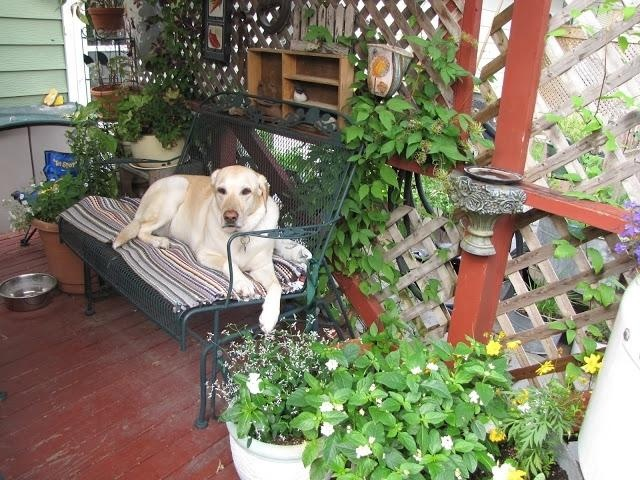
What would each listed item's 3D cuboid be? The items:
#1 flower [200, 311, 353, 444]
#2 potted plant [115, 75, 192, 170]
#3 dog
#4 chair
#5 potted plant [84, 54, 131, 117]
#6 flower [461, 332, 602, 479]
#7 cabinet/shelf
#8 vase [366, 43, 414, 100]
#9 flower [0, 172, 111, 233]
[{"bbox_3d":[-0.177,0.745,2.089,0.660,1.011,0.349,-5,67,-5],"label":"flower"},{"bbox_3d":[-1.344,-0.944,3.916,0.714,0.736,0.764,-3,34,-19],"label":"potted plant"},{"bbox_3d":[-0.580,-0.049,2.651,0.731,0.569,1.219,-13,42,-38],"label":"dog"},{"bbox_3d":[-2.111,-0.317,3.677,0.534,0.649,0.561,-3,24,-17],"label":"chair"},{"bbox_3d":[-1.889,-1.396,4.149,0.322,0.489,0.356,-3,25,7],"label":"potted plant"},{"bbox_3d":[0.982,0.740,2.101,0.389,0.231,0.648,-2,53,8],"label":"flower"},{"bbox_3d":[-0.149,-0.989,3.007,0.736,0.426,0.113,21,36,31],"label":"cabinet/shelf"},{"bbox_3d":[0.349,-0.905,2.529,0.233,0.265,0.255,5,12,-21],"label":"vase"},{"bbox_3d":[-1.947,-0.319,3.439,0.520,0.192,0.554,-10,23,-10],"label":"flower"}]
